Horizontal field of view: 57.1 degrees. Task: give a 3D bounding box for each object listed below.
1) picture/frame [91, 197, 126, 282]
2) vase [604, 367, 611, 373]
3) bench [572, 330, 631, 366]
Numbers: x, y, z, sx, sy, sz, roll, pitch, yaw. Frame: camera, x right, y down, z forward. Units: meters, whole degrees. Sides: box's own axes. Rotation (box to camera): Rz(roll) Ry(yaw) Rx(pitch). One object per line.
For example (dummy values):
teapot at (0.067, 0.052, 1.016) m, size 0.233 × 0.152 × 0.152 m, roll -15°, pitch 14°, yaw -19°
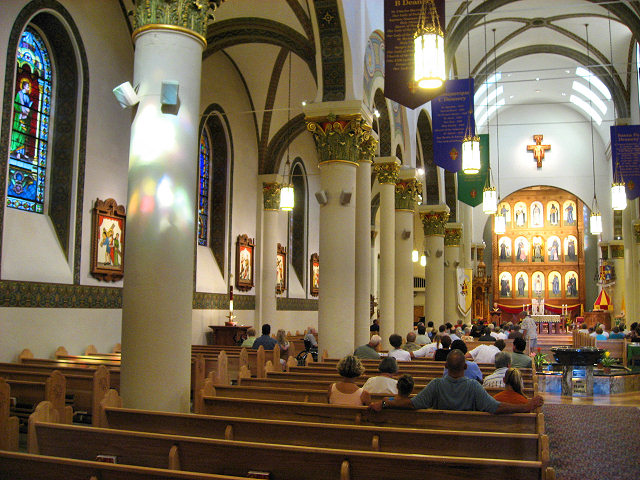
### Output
picture/frame at (-4.967, 0.004, 13.781) m, size 0.116 × 1.939 × 0.973 m, roll -4°, pitch -8°, yaw 23°
vase at (6.671, 3.032, 13.690) m, size 0.123 × 0.101 × 0.118 m, roll -7°, pitch -10°, yaw 38°
bench at (8.376, 3.206, 17.525) m, size 1.454 × 0.939 × 2.123 m, roll -5°, pitch -9°, yaw 27°
